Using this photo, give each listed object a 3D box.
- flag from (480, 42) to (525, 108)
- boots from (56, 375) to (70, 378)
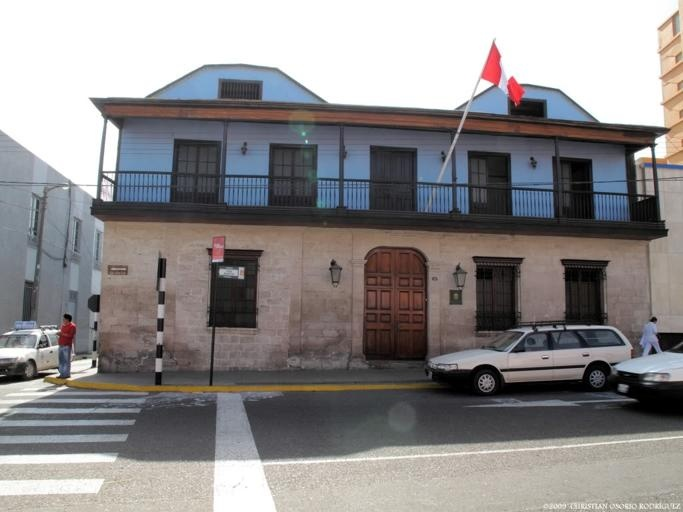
[{"bbox_3d":[4.933,-5.775,19.665,1.560,0.399,3.386,13,-19,17],"label":"flag"},{"bbox_3d":[-8.020,3.464,18.199,0.331,0.129,0.117,-1,-4,11],"label":"boots"}]
